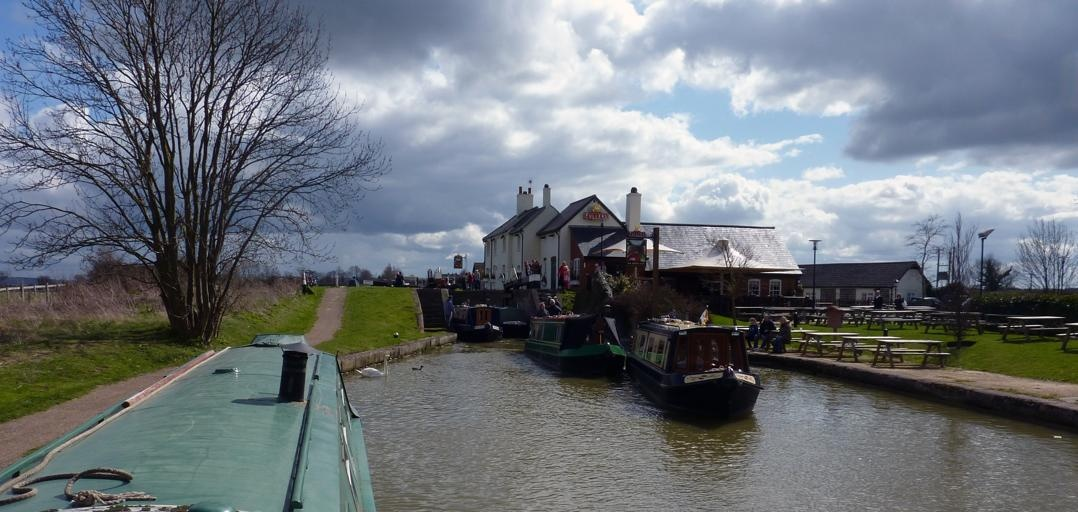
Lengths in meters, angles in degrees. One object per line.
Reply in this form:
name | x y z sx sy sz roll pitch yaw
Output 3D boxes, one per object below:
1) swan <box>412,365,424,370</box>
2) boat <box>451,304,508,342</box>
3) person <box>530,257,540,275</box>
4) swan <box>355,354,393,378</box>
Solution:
swan | -7.201 6.648 38.900 0.727 0.440 0.256 -6 -17 38
boat | -4.848 5.448 51.927 2.981 2.032 7.718 1 -4 -16
person | -0.534 1.315 68.447 1.294 1.505 1.207 0 -29 -3
swan | -9.462 6.378 37.209 2.336 1.510 0.763 2 5 -1
